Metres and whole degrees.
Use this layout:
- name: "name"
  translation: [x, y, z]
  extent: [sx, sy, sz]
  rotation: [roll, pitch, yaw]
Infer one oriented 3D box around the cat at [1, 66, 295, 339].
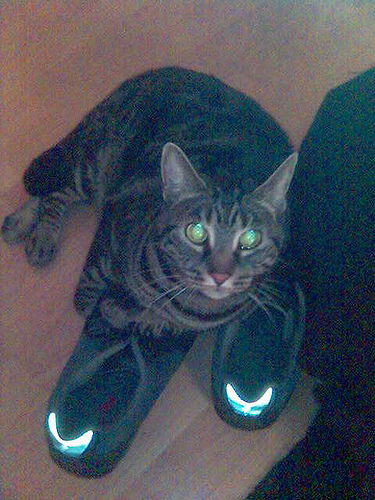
- name: "cat"
  translation: [-0.082, -0.140, 1.866]
  extent: [0.869, 0.576, 0.705]
  rotation: [-29, 53, -20]
